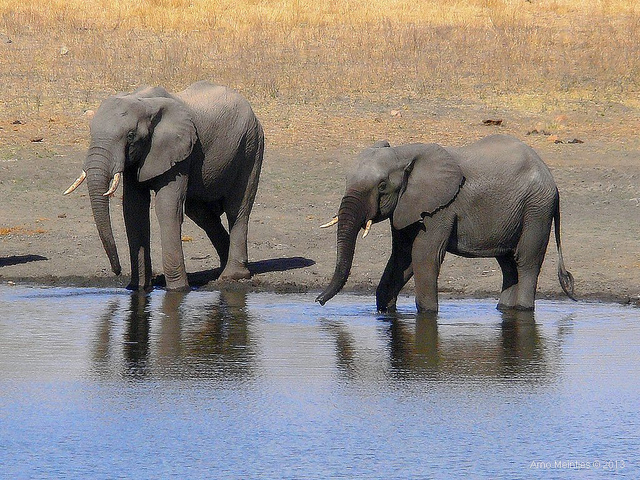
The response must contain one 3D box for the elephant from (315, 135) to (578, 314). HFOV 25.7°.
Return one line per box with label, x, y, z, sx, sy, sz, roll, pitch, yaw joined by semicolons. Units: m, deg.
elephant;1.503;-0.084;17.009;3.761;2.024;1.376;0;-3;-27
